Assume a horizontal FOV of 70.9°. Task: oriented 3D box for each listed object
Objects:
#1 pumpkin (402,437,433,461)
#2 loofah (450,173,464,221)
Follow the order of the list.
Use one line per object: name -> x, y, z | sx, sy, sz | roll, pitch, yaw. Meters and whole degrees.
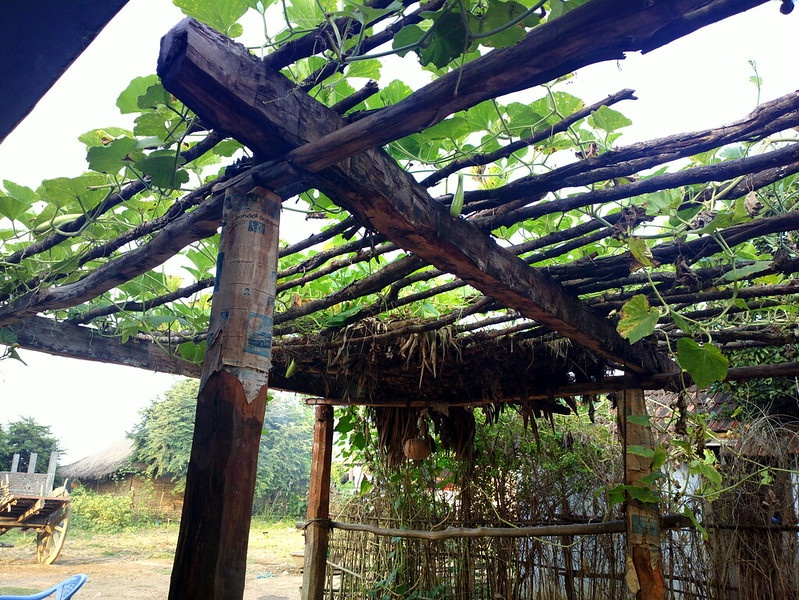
pumpkin -> 0.165, 1.364, 5.140 | 0.229, 0.123, 0.195 | 9, -11, -35
loofah -> 0.256, -0.462, 2.451 | 0.037, 0.191, 0.067 | 18, -28, -30
